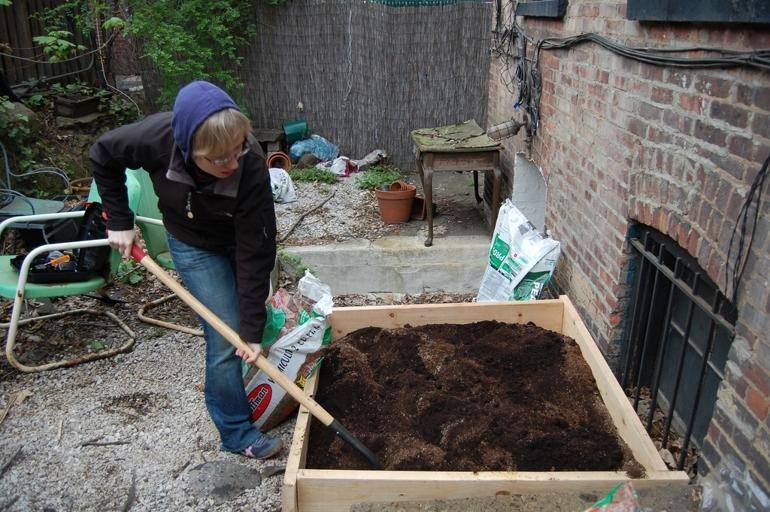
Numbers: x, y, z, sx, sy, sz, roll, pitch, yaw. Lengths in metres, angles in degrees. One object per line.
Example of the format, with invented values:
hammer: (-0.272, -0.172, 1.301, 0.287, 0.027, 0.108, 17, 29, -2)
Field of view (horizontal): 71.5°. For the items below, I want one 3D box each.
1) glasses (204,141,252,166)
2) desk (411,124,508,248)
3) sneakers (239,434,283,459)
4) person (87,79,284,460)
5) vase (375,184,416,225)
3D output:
glasses: (-0.788, -0.536, 2.815, 0.132, 0.102, 0.264, 19, 31, 35)
desk: (0.816, -0.862, 6.276, 0.999, 1.141, 1.239, 1, 25, 2)
sneakers: (-0.765, 1.210, 3.406, 0.257, 0.123, 0.120, -7, 25, 0)
person: (-1.076, 0.096, 3.280, 1.062, 2.253, 0.496, 14, 28, 28)
vase: (0.145, -0.670, 6.803, 0.492, 0.483, 0.505, -1, 7, -2)
